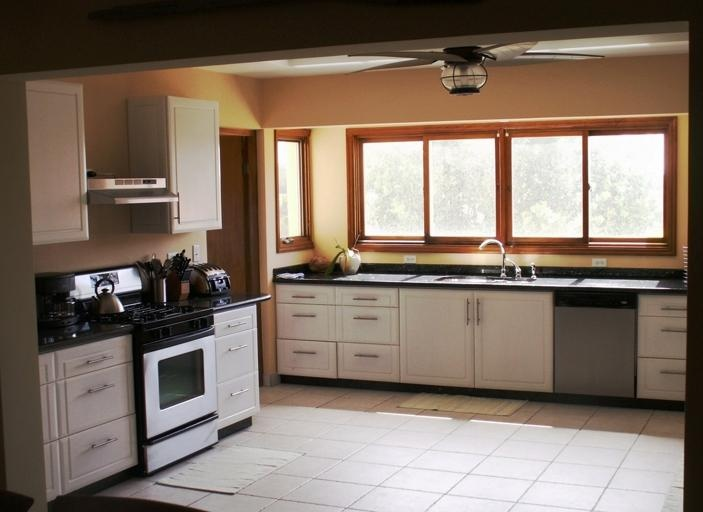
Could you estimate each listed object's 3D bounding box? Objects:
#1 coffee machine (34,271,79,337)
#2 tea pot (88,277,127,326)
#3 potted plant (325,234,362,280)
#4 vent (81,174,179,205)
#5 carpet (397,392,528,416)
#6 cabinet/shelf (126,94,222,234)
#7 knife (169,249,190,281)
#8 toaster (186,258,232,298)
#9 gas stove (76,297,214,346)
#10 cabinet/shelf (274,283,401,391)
[{"bbox_3d":[-1.990,0.324,3.889,0.176,0.377,0.245,9,11,31],"label":"coffee machine"},{"bbox_3d":[-1.809,0.321,4.228,0.266,0.308,0.316,1,-3,-33],"label":"tea pot"},{"bbox_3d":[-0.045,0.038,6.637,0.279,0.321,0.401,3,2,-13],"label":"potted plant"},{"bbox_3d":[-1.633,-0.487,4.196,0.426,0.208,0.780,5,7,28],"label":"vent"},{"bbox_3d":[1.065,1.427,5.497,1.146,0.012,0.534,0,5,15],"label":"carpet"},{"bbox_3d":[-1.543,-0.757,4.850,0.503,1.122,0.716,7,10,27],"label":"cabinet/shelf"},{"bbox_3d":[-1.458,0.082,4.874,0.146,0.254,0.456,-3,5,-15],"label":"knife"},{"bbox_3d":[-1.248,0.218,5.048,0.339,0.275,0.209,-3,5,-18],"label":"toaster"},{"bbox_3d":[-1.532,0.473,4.185,0.450,0.196,0.503,0,2,25],"label":"gas stove"},{"bbox_3d":[-0.064,0.817,6.249,1.734,1.171,0.928,0,-3,16],"label":"cabinet/shelf"}]
